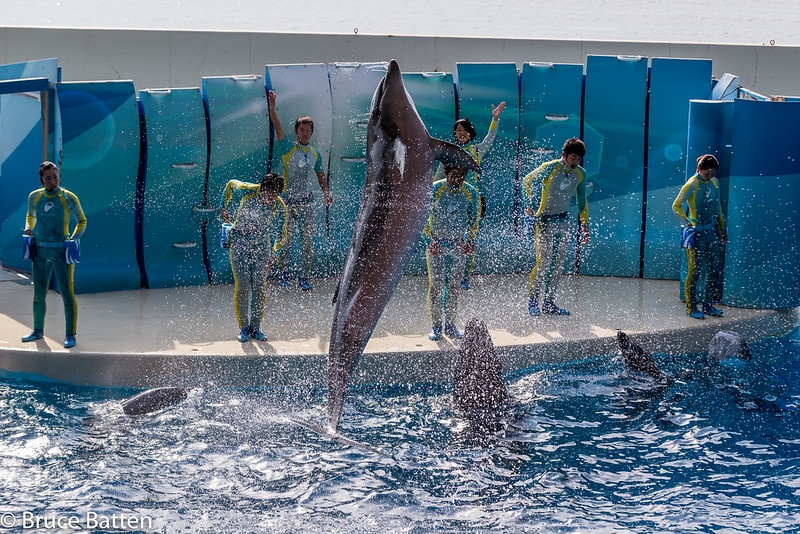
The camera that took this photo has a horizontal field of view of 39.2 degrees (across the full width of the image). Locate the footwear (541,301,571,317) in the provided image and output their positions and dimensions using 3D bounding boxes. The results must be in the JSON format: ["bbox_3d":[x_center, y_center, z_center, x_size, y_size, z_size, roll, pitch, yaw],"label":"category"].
[{"bbox_3d":[1.888,0.508,13.806,0.373,0.244,0.139,-3,6,-4],"label":"footwear"}]

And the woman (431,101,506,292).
[{"bbox_3d":[0.702,-0.895,13.907,1.251,2.518,0.384,6,-20,-8],"label":"woman"}]

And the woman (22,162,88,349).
[{"bbox_3d":[-3.953,-0.155,12.798,0.723,2.071,0.455,2,2,9],"label":"woman"}]

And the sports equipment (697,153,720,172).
[{"bbox_3d":[3.672,-1.240,13.460,0.182,0.240,0.182,-2,39,8],"label":"sports equipment"}]

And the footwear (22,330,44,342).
[{"bbox_3d":[-4.163,0.770,12.775,0.193,0.088,0.114,-3,6,-23],"label":"footwear"}]

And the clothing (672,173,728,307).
[{"bbox_3d":[3.667,-0.340,13.849,0.592,1.573,0.907,2,2,16],"label":"clothing"}]

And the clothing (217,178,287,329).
[{"bbox_3d":[-1.701,-0.094,12.963,0.695,1.949,0.672,4,1,5],"label":"clothing"}]

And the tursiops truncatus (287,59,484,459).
[{"bbox_3d":[-0.139,-0.147,10.114,1.141,3.366,0.356,2,2,1],"label":"tursiops truncatus"}]

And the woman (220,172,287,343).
[{"bbox_3d":[-1.698,-0.112,12.979,0.736,1.913,0.651,1,2,-6],"label":"woman"}]

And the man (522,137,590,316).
[{"bbox_3d":[1.896,-0.469,13.647,0.732,2.138,0.382,3,2,24],"label":"man"}]

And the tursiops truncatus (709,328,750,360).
[{"bbox_3d":[3.685,0.872,12.634,0.380,0.312,0.295,-1,-3,39],"label":"tursiops truncatus"}]

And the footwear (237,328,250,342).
[{"bbox_3d":[-1.780,0.781,12.925,0.164,0.177,0.092,2,1,-16],"label":"footwear"}]

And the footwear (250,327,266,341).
[{"bbox_3d":[-1.616,0.772,12.974,0.082,0.112,0.242,1,-2,-38],"label":"footwear"}]

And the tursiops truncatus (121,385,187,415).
[{"bbox_3d":[-2.580,1.440,12.099,0.759,0.267,0.178,-8,-16,-28],"label":"tursiops truncatus"}]

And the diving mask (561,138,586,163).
[{"bbox_3d":[2.082,-1.401,13.500,0.209,0.273,0.278,3,15,4],"label":"diving mask"}]

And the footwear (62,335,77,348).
[{"bbox_3d":[-3.701,0.832,12.684,0.135,0.130,0.244,1,3,-17],"label":"footwear"}]
